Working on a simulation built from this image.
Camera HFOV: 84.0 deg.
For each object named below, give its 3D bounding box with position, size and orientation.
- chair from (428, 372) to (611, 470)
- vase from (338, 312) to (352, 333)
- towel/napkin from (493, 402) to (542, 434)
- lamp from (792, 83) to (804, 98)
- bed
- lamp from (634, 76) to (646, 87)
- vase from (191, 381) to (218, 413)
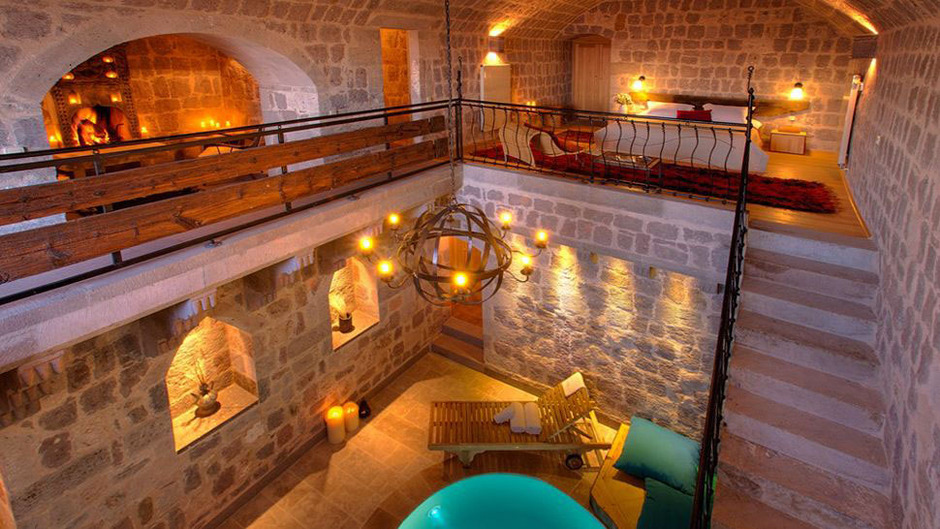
[{"bbox_3d":[0.766,2.875,9.445,3.235,1.169,1.507,0,34,0],"label":"chair"},{"bbox_3d":[-2.401,1.116,10.022,0.299,0.322,0.298,-17,30,-42],"label":"vase"},{"bbox_3d":[0.860,2.684,9.209,0.801,0.397,0.694,-15,22,4],"label":"towel/napkin"},{"bbox_3d":[7.073,-3.777,11.316,0.216,0.321,0.261,19,28,41],"label":"lamp"},{"bbox_3d":[4.428,-2.645,10.356,2.505,0.719,2.340,14,36,26],"label":"bed"},{"bbox_3d":[4.180,-4.542,12.872,0.137,0.172,0.253,-32,17,3],"label":"lamp"},{"bbox_3d":[-4.266,2.158,8.446,0.363,0.520,0.221,-7,22,-17],"label":"vase"}]
